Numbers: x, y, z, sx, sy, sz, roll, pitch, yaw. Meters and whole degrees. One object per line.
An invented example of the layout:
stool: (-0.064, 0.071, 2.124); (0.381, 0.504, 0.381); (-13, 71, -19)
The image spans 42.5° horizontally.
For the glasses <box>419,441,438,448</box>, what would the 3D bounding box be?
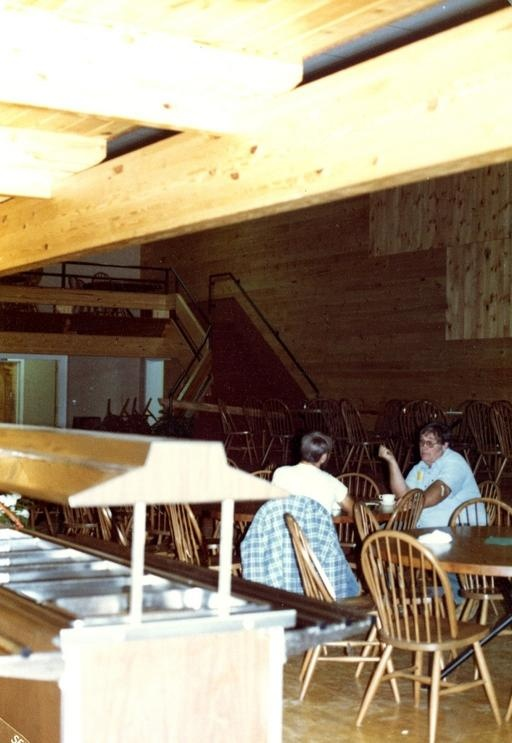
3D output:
glasses: (1.036, 0.438, 3.968); (0.054, 0.016, 0.055); (8, 12, 40)

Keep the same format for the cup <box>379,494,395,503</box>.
cup: (0.859, 0.832, 4.302); (0.081, 0.050, 0.064); (-5, 5, -5)
